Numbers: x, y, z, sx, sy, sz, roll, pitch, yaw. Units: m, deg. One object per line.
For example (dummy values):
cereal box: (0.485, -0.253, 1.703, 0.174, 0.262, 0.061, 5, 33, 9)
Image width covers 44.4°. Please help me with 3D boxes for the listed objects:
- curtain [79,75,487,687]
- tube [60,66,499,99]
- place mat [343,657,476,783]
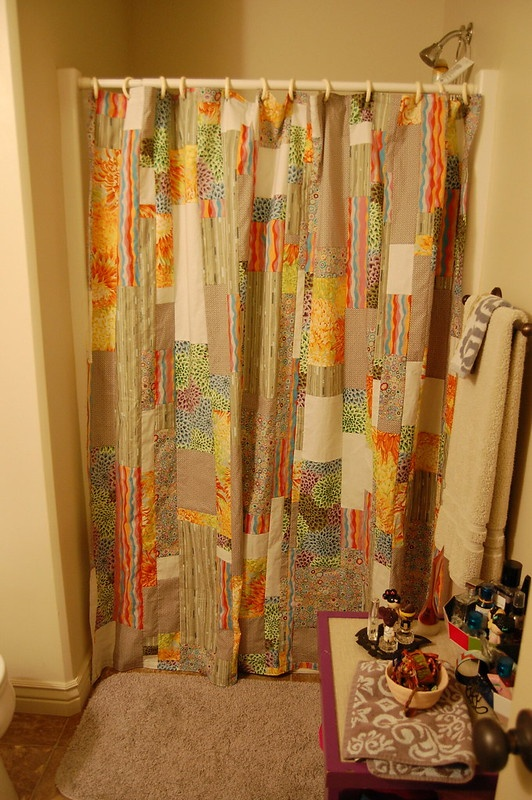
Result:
curtain: (0.003, 0.026, 1.873, 1.087, 1.737, 0.228, 0, 14, 4)
tube: (0.035, -0.810, 1.714, 1.080, 0.090, 0.162, 1, 15, 4)
place mat: (0.266, 0.599, 1.230, 0.226, 0.045, 0.275, 3, 15, 13)
